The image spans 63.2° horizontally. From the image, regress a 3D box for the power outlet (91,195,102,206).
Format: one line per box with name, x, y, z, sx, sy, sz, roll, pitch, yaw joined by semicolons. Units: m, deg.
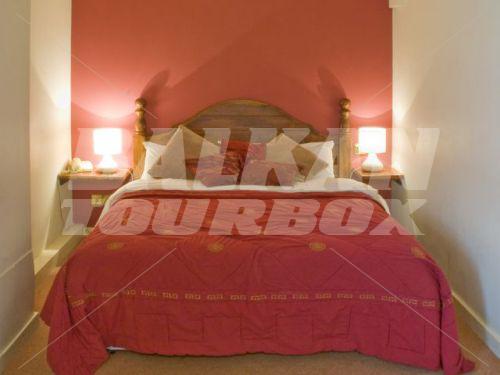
power outlet;-1.658;0.126;4.379;0.097;0.100;0.026;2;14;1
